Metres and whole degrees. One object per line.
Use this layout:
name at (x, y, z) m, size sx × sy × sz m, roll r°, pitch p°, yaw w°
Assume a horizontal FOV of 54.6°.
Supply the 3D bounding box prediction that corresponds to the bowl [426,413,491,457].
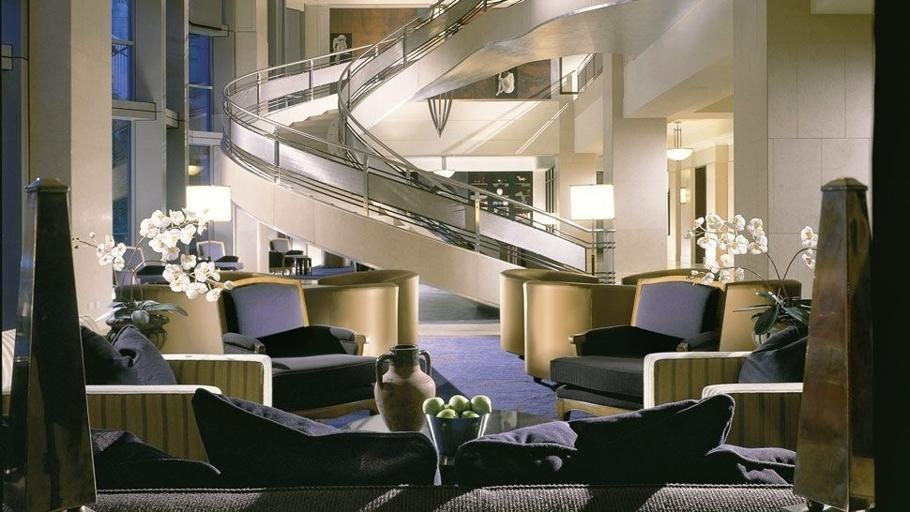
bowl at (0.000, 1.148, 5.634) m, size 0.433 × 0.221 × 0.409 m, roll -1°, pitch -10°, yaw 0°

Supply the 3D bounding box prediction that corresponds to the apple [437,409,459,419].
apple at (-0.044, 0.987, 5.488) m, size 0.095 × 0.067 × 0.073 m, roll 2°, pitch -11°, yaw -18°

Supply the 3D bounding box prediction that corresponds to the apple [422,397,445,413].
apple at (-0.129, 0.931, 5.560) m, size 0.110 × 0.101 × 0.104 m, roll 4°, pitch 19°, yaw 31°

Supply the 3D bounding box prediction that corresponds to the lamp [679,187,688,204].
lamp at (5.253, -1.390, 20.331) m, size 0.167 × 0.365 × 0.482 m, roll 1°, pitch 0°, yaw 10°

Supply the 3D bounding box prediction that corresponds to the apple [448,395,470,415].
apple at (0.024, 0.954, 5.594) m, size 0.105 × 0.065 × 0.123 m, roll 3°, pitch 0°, yaw -6°

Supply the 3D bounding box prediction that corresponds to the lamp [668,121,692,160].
lamp at (4.214, -2.187, 16.617) m, size 0.574 × 0.663 × 0.563 m, roll 3°, pitch 8°, yaw 31°

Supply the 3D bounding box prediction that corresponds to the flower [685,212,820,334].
flower at (2.441, 0.156, 7.158) m, size 1.038 × 1.155 × 1.065 m, roll -4°, pitch 2°, yaw -4°
